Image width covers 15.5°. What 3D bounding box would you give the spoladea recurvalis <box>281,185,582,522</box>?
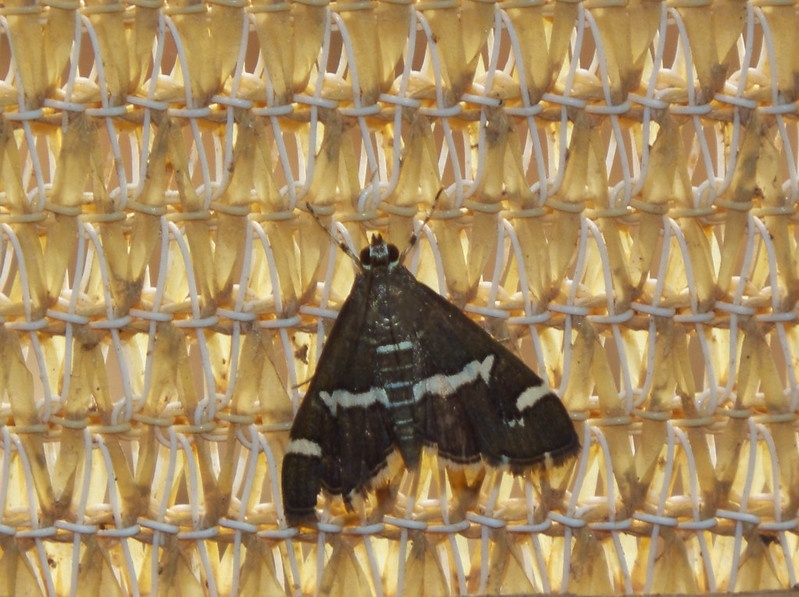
[{"bbox_3d":[-0.005,0.072,3.002,0.315,0.084,0.341,-11,75,-17],"label":"spoladea recurvalis"}]
